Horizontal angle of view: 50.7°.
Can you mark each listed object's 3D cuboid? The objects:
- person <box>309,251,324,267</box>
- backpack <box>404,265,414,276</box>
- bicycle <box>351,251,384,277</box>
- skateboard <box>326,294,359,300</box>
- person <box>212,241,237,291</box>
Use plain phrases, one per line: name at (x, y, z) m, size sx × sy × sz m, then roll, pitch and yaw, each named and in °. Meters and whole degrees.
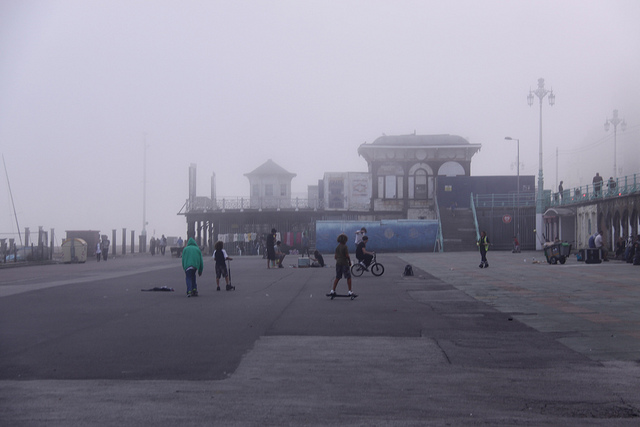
person at (-0.271, 2.576, 37.696) m, size 0.615 × 1.261 × 0.825 m, roll 0°, pitch -5°, yaw -2°
backpack at (3.901, 2.498, 29.365) m, size 0.385 × 0.495 × 0.403 m, roll 0°, pitch -6°, yaw -13°
bicycle at (2.128, 2.360, 30.921) m, size 1.492 × 1.130 × 0.865 m, roll -2°, pitch 4°, yaw -5°
skateboard at (0.708, 2.721, 22.113) m, size 1.109 × 0.187 × 0.329 m, roll -1°, pitch 3°, yaw 0°
person at (-3.710, 1.954, 25.816) m, size 0.671 × 1.616 × 3.039 m, roll -4°, pitch -2°, yaw -9°
